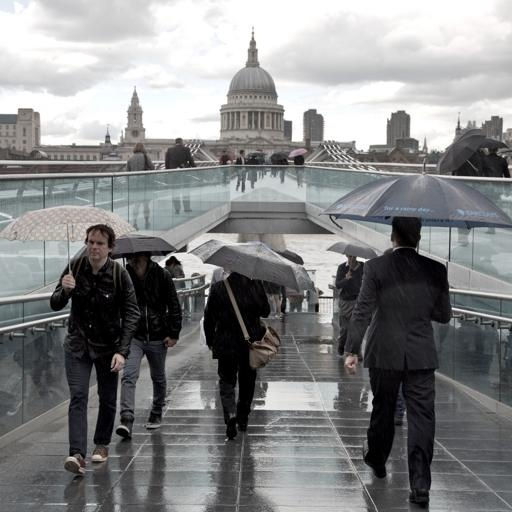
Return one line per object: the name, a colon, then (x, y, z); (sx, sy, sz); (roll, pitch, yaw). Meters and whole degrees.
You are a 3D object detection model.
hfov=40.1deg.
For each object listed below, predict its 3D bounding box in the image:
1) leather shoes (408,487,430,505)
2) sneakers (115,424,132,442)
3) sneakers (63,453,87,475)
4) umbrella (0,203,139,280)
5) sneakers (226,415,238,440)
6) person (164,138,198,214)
leather shoes: (0.812, 1.187, 3.518); (0.043, 0.055, 0.114); (2, 0, 4)
sneakers: (-0.901, 1.181, 4.772); (0.055, 0.155, 0.068); (-5, 50, -1)
sneakers: (-0.993, 1.139, 3.866); (0.059, 0.085, 0.173); (2, -13, 6)
umbrella: (-1.307, -0.161, 4.852); (0.531, 0.337, 0.568); (-2, 4, -1)
sneakers: (-0.159, 1.155, 4.794); (0.073, 0.144, 0.034); (3, -1, -34)
person: (-1.725, -1.862, 16.132); (0.719, 1.700, 2.755); (-2, 7, -7)
